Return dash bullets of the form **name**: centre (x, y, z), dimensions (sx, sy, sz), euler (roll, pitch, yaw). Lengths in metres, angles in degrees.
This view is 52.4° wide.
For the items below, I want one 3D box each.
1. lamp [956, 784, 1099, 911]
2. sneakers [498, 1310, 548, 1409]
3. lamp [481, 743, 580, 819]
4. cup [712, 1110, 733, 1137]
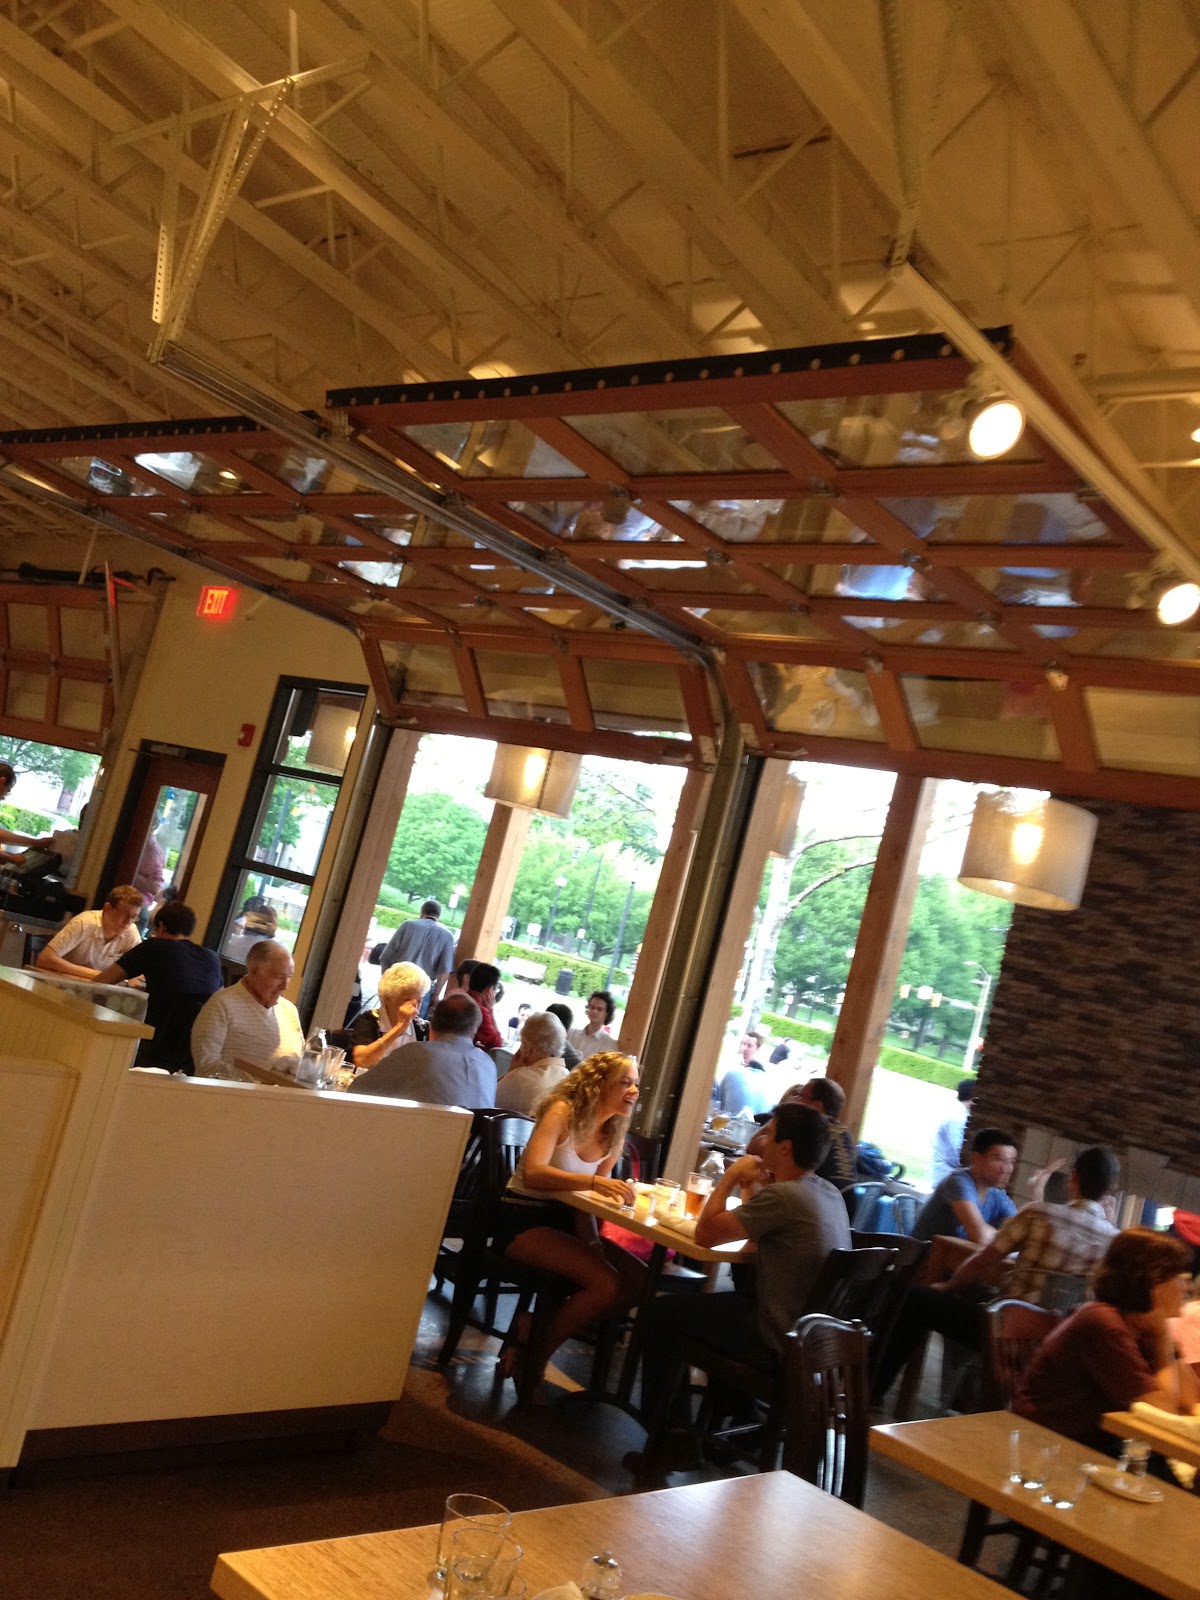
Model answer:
- **lamp**: centre (1.833, 0.219, 5.472), dimensions (0.625, 0.440, 0.551), euler (28, -8, -11)
- **sneakers**: centre (-0.276, 2.019, 4.427), dimensions (0.132, 0.143, 0.396), euler (4, 6, -9)
- **lamp**: centre (-0.488, -0.162, 8.894), dimensions (0.645, 0.542, 0.340), euler (7, 1, 34)
- **cup**: centre (0.725, 1.918, 7.219), dimensions (0.155, 0.126, 0.142), euler (0, -10, 0)
